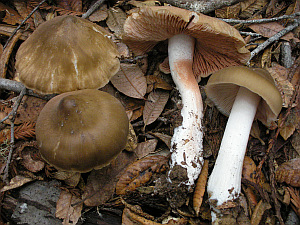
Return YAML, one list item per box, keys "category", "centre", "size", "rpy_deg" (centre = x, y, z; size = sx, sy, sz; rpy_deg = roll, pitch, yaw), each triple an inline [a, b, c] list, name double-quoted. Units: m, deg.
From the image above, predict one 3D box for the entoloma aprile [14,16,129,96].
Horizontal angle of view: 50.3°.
- category: "entoloma aprile"
  centre: [-0.739, -0.649, 2.978]
  size: [0.981, 0.477, 1.042]
  rpy_deg: [-2, 36, -24]

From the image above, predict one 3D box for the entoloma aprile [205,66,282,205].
- category: "entoloma aprile"
  centre: [0.789, 0.257, 2.908]
  size: [0.656, 1.324, 0.668]
  rpy_deg: [23, -17, -32]

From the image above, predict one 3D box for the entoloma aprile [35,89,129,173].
- category: "entoloma aprile"
  centre: [-0.586, 0.012, 2.636]
  size: [0.748, 0.827, 0.415]
  rpy_deg: [-14, -31, -11]
